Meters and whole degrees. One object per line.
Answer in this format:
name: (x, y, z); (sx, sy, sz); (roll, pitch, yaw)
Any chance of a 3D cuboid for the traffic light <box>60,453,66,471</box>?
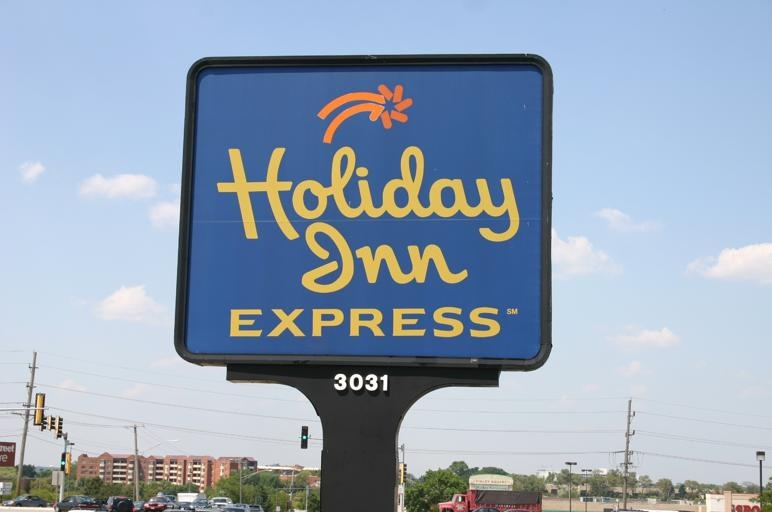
traffic light: (-59.203, 37.642, 246.978); (0.664, 2.859, 0.976); (-11, -20, 38)
